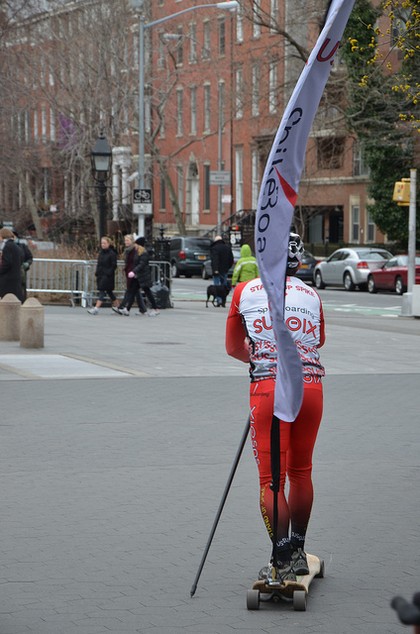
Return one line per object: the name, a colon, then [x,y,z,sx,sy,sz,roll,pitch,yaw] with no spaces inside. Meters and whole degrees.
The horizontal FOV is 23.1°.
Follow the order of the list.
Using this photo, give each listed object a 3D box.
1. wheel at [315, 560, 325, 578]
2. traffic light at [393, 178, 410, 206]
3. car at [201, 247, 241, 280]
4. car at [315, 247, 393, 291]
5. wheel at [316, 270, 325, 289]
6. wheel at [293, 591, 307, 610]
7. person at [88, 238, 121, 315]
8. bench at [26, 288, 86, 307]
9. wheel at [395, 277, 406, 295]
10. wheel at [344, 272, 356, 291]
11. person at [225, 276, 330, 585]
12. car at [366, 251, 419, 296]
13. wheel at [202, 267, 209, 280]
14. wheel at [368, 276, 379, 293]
wheel: [0.499,1.132,4.626,0.053,0.076,0.082,-2,10,4]
traffic light: [4.267,-2.798,22.960,0.369,0.596,0.832,0,3,10]
car: [0.022,-2.025,40.115,0.934,0.883,2.035,-1,5,-26]
car: [4.914,-1.703,35.432,1.252,0.971,2.685,-2,6,-22]
wheel: [3.945,-1.330,36.936,0.287,0.670,0.600,0,3,6]
wheel: [0.366,1.157,4.223,0.051,0.081,0.090,0,3,6]
person: [-2.216,-0.819,21.357,0.518,1.579,1.143,-1,3,-7]
bench: [-3.569,-0.472,24.359,1.966,0.402,0.780,2,4,44]
wheel: [5.826,-0.979,31.504,0.194,0.597,0.595,-1,15,-5]
wheel: [4.751,-1.233,35.036,0.207,0.583,0.580,-2,4,-11]
person: [0.296,0.496,4.676,0.447,1.360,1.268,-1,3,5]
car: [5.730,-1.357,32.362,1.003,0.871,2.078,-1,7,-14]
wheel: [-0.213,-1.767,41.368,0.206,0.538,0.535,1,1,-9]
wheel: [5.306,-1.070,33.507,0.183,0.562,0.558,0,-2,-11]
